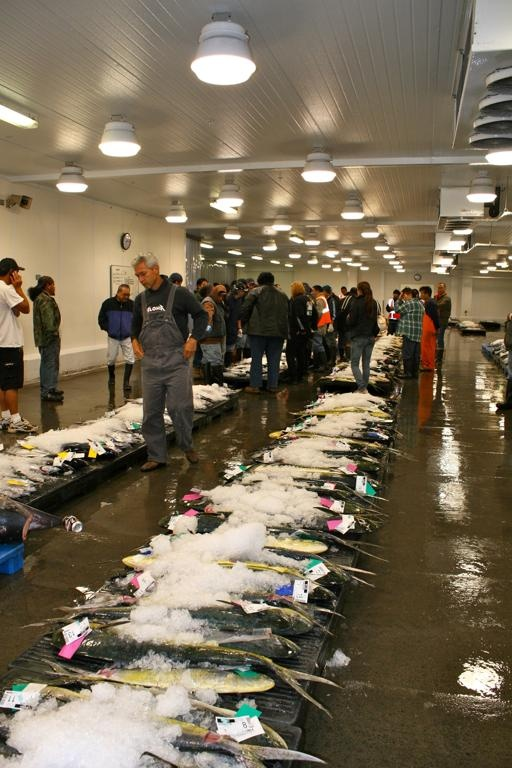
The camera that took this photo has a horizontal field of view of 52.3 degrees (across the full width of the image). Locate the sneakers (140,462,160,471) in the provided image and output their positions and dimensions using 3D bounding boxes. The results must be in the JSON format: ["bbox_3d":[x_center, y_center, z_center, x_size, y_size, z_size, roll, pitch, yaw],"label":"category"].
[{"bbox_3d":[-0.982,0.758,4.804,0.075,0.065,0.183,25,6,25],"label":"sneakers"}]

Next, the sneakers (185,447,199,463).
[{"bbox_3d":[-0.606,0.672,4.992,0.103,0.154,0.155,-1,17,19],"label":"sneakers"}]

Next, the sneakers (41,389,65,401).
[{"bbox_3d":[-3.207,0.196,8.174,0.198,0.080,0.237,-2,6,-1],"label":"sneakers"}]
